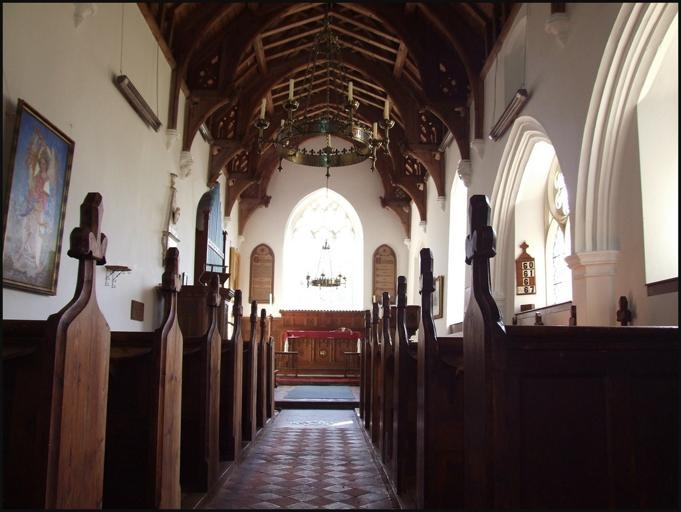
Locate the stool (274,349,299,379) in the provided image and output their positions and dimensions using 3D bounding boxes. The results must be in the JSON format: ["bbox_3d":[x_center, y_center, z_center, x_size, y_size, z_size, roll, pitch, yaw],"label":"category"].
[{"bbox_3d":[-1.388,2.815,14.162,0.565,0.646,1.337,0,-12,-6],"label":"stool"}]

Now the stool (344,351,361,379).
[{"bbox_3d":[0.304,2.859,14.287,0.583,0.692,0.663,0,-14,-1],"label":"stool"}]
